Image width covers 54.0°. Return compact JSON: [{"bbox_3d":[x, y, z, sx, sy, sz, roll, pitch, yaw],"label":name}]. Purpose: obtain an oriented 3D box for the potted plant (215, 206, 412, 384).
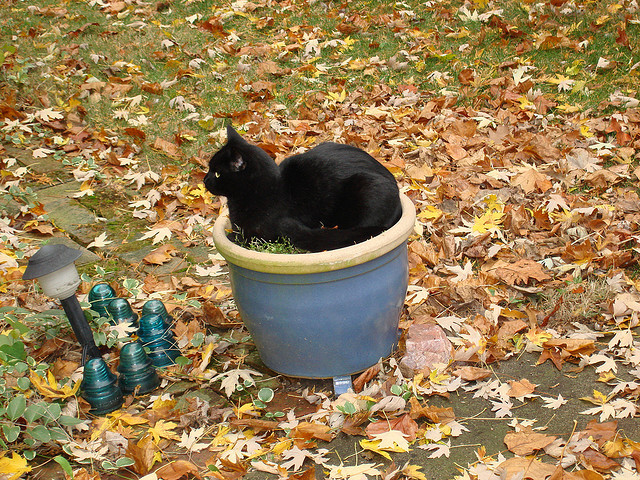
[{"bbox_3d":[-0.149,0.234,3.826,1.421,0.886,1.390,-8,22,-16],"label":"potted plant"}]
